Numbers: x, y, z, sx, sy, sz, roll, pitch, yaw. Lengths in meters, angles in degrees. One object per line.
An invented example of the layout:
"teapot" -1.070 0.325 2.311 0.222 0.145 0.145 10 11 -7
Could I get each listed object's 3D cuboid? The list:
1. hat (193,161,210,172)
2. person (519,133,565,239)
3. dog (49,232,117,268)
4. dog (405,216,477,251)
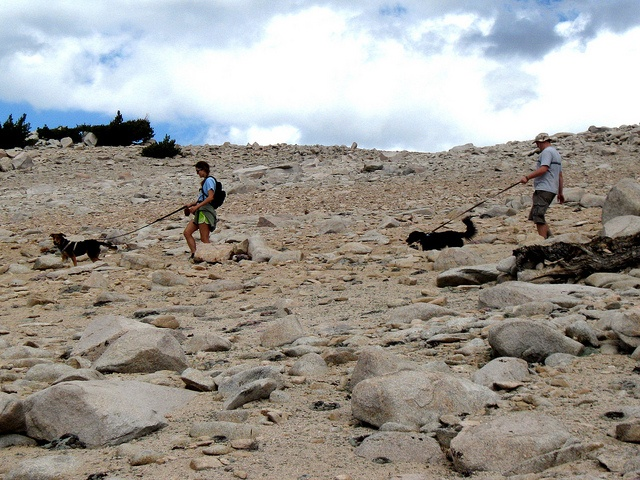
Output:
"hat" -1.891 -1.165 11.795 0.210 0.184 0.212 8 33 11
"person" 2.934 -0.731 10.098 0.532 1.386 1.510 3 3 17
"dog" -3.733 0.164 11.814 0.343 0.395 1.082 -4 -4 44
"dog" 1.863 -0.049 11.717 1.115 0.473 0.302 -9 -15 24
